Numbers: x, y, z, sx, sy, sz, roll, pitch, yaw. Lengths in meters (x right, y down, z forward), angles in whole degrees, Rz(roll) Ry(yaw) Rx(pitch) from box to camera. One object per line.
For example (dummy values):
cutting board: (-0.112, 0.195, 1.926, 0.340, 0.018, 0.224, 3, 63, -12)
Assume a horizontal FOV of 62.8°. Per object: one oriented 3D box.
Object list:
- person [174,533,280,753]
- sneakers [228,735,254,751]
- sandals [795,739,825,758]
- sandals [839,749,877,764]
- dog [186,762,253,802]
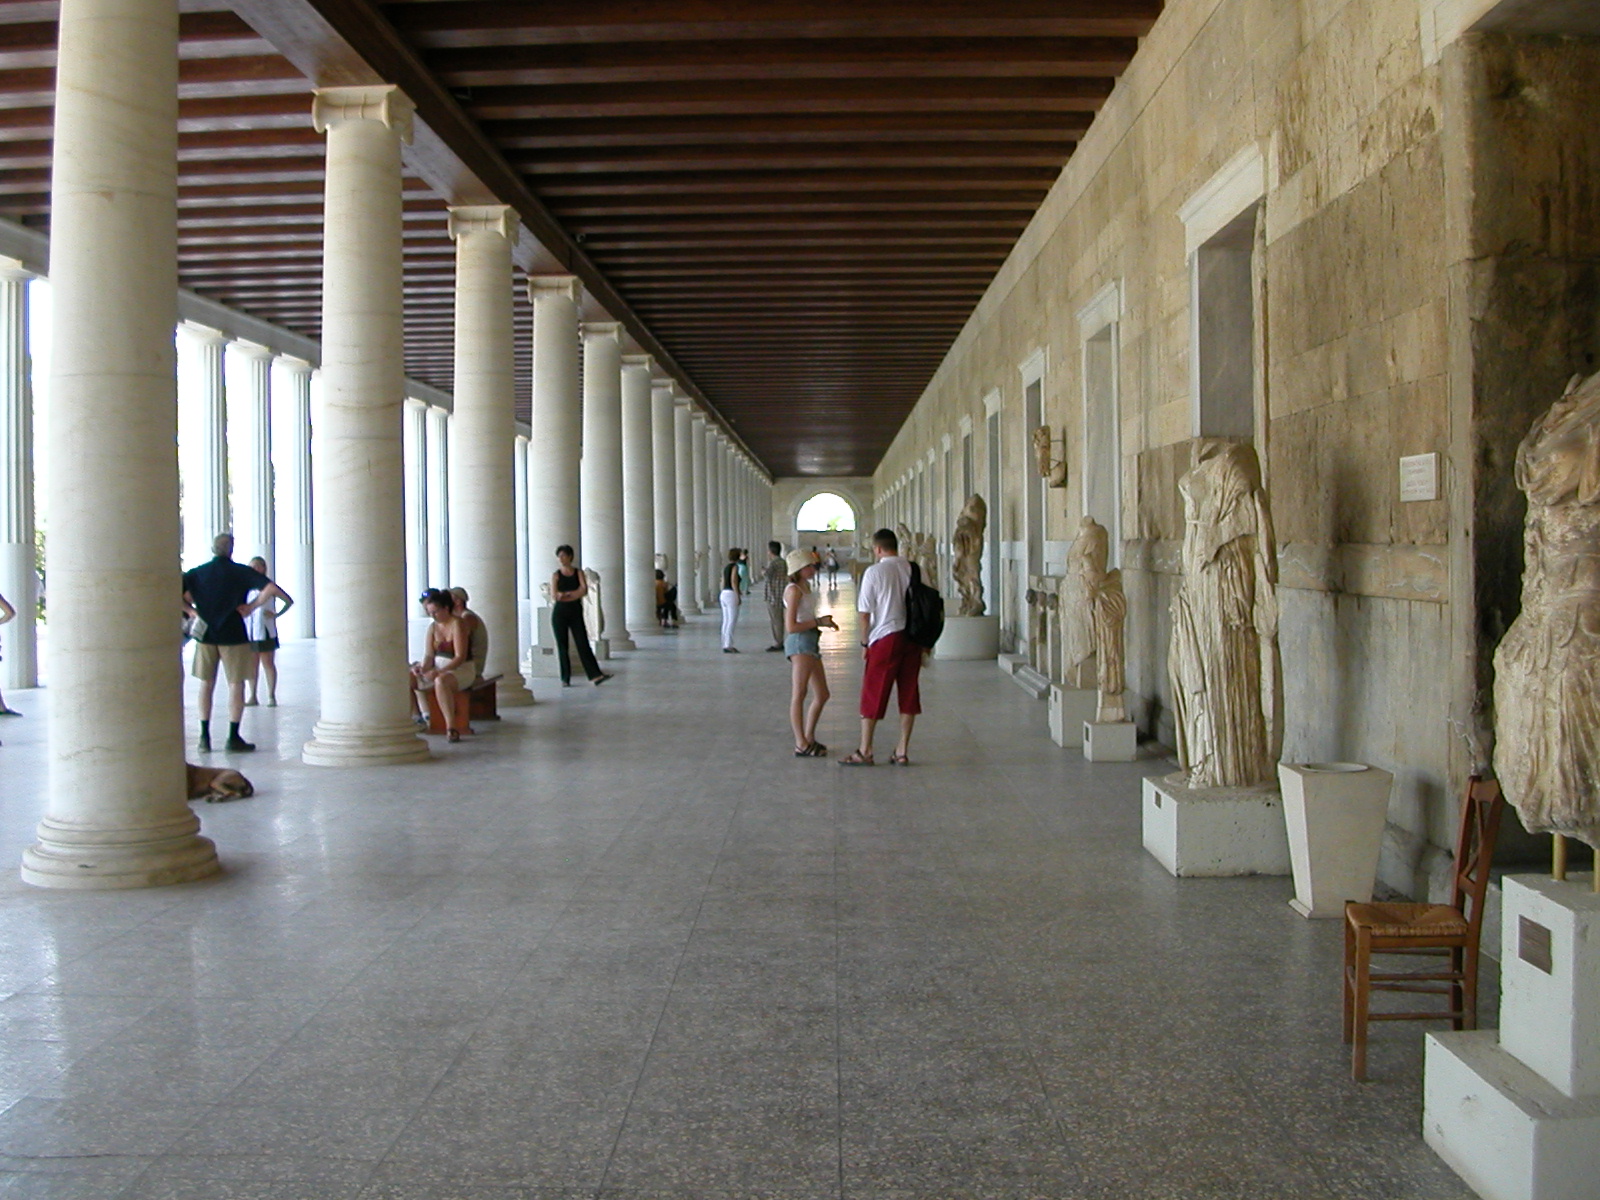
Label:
person: (-5.508, 0.376, 12.442, 0.791, 2.039, 0.558, 1, 2, -17)
sneakers: (-5.342, 1.353, 12.392, 0.268, 0.124, 0.101, 0, 7, -12)
sandals: (0.095, 1.377, 12.024, 0.257, 0.118, 0.119, -2, 2, 22)
sandals: (0.512, 1.394, 11.586, 0.240, 0.104, 0.130, 1, 1, 21)
dog: (-4.532, 1.419, 10.217, 0.468, 0.267, 0.376, -2, 4, -24)
